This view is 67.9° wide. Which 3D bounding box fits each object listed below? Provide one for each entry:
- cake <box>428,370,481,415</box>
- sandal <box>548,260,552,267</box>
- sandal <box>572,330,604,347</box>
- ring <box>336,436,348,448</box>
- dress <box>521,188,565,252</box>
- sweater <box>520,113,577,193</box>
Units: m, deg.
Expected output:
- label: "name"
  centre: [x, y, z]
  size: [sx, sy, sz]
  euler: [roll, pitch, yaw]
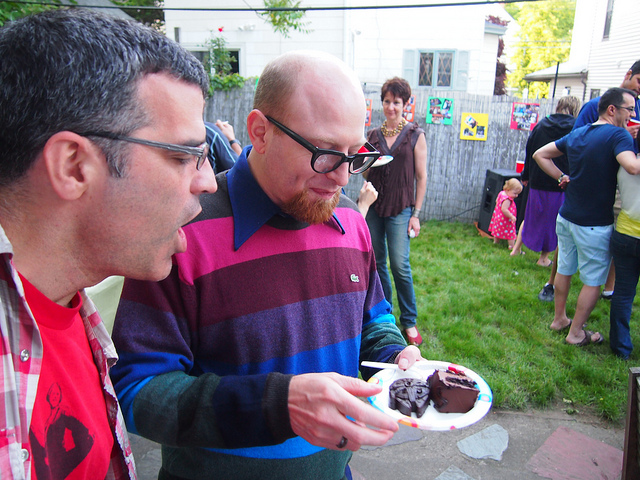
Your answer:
- label: "cake"
  centre: [0.562, 0.650, 2.023]
  size: [0.178, 0.131, 0.207]
  euler: [-2, 9, -6]
- label: "sandal"
  centre: [3.437, 0.351, 7.114]
  size: [0.039, 0.040, 0.202]
  euler: [5, 17, 17]
- label: "sandal"
  centre: [2.743, 1.028, 4.867]
  size: [0.273, 0.088, 0.139]
  euler: [-11, 27, 9]
- label: "ring"
  centre: [0.068, 0.641, 1.475]
  size: [0.033, 0.034, 0.009]
  euler: [-1, 14, -4]
- label: "dress"
  centre: [3.129, -0.272, 6.740]
  size: [0.460, 0.928, 0.241]
  euler: [7, 16, 25]
- label: "sweater"
  centre: [3.163, -1.238, 6.597]
  size: [0.562, 1.059, 0.700]
  euler: [5, 15, 18]
